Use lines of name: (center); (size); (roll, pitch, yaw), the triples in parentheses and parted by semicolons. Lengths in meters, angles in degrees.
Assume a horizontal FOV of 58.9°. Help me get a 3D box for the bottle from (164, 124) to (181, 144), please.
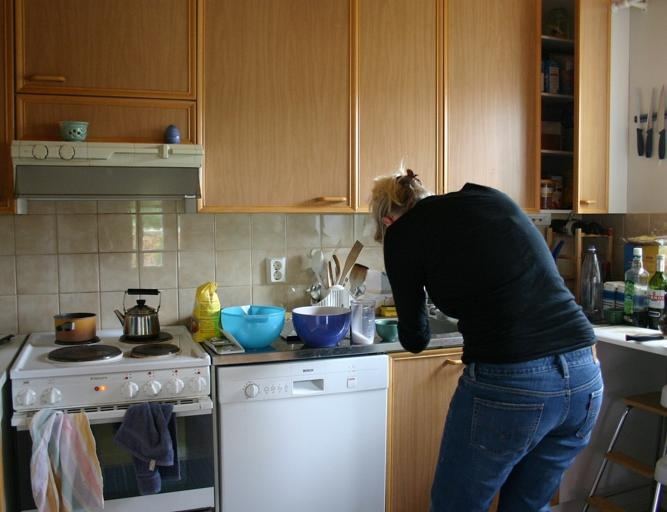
bottle: (-0.695, -0.532, 2.580); (0.079, 0.108, 0.082); (2, 11, 0)

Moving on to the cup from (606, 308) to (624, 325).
cup: (1.418, 0.306, 2.976); (0.067, 0.060, 0.076); (0, -2, 45)

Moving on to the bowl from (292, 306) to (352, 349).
bowl: (-0.063, 0.324, 2.651); (0.270, 0.171, 0.274); (1, 3, 0)

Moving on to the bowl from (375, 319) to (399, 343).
bowl: (0.242, 0.342, 2.721); (0.102, 0.074, 0.106); (0, 0, 0)

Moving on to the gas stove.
gas stove: (-0.926, 0.475, 2.503); (0.771, 0.315, 0.482); (-7, 3, -14)

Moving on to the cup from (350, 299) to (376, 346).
cup: (0.112, 0.294, 2.692); (0.132, 0.229, 0.139); (0, -10, 0)

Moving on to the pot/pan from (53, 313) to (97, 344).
pot/pan: (-1.132, 0.315, 2.563); (0.131, 0.089, 0.139); (1, 2, -11)

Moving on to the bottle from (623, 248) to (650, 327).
bottle: (1.512, 0.153, 2.951); (0.129, 0.385, 0.113); (-5, 3, 2)

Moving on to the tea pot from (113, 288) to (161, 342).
tea pot: (-0.866, 0.269, 2.741); (0.265, 0.267, 0.200); (0, 3, -3)

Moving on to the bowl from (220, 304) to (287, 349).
bowl: (-0.370, 0.336, 2.673); (0.297, 0.183, 0.321); (1, 4, 0)
